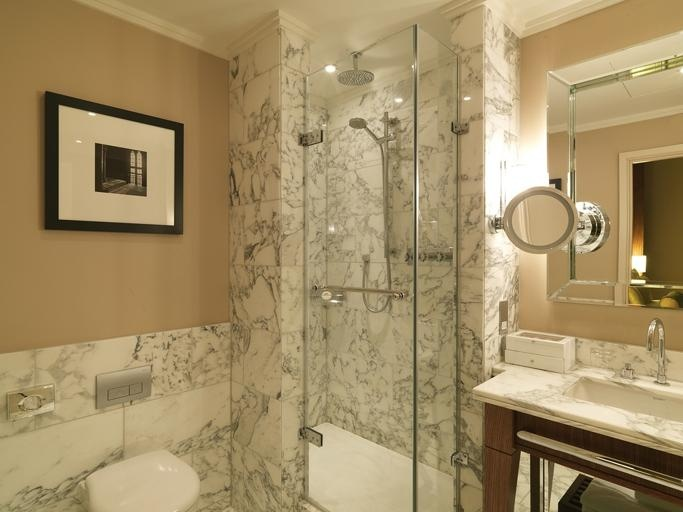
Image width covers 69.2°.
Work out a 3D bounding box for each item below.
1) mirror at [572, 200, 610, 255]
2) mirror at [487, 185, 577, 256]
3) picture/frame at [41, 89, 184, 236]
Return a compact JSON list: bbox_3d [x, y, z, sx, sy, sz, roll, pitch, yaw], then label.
[{"bbox_3d":[1.414,-0.170,2.788,0.150,0.338,0.261,1,-4,-34],"label":"mirror"},{"bbox_3d":[1.089,-0.200,2.735,0.385,0.365,0.050,-1,2,27],"label":"mirror"},{"bbox_3d":[-1.342,-0.535,2.831,0.805,0.897,0.055,1,0,-40],"label":"picture/frame"}]
